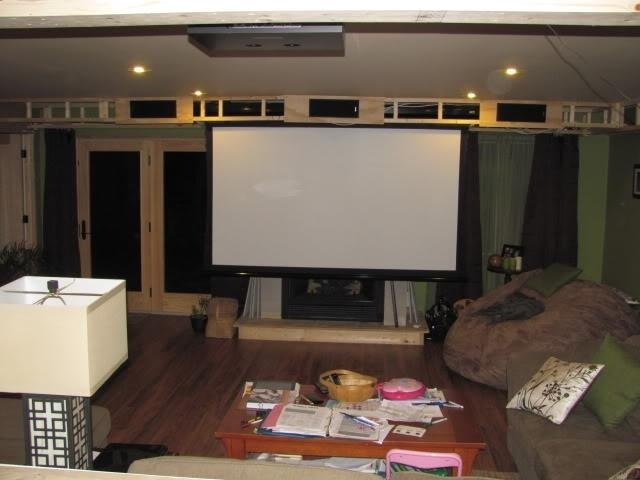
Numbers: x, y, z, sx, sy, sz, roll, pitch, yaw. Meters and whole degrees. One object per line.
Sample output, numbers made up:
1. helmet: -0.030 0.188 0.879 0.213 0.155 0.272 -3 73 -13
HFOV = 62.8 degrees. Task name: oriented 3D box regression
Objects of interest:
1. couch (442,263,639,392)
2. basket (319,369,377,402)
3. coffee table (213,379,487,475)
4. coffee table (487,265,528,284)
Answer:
1. couch: 2.009 0.791 4.929 1.303 0.406 1.141 -17 16 8
2. basket: 0.198 1.001 3.600 0.268 0.088 0.202 -2 2 -13
3. coffee table: 0.202 1.225 3.395 1.005 0.450 0.524 1 20 2
4. coffee table: 2.262 0.395 6.405 0.322 0.307 0.285 -1 5 -1
